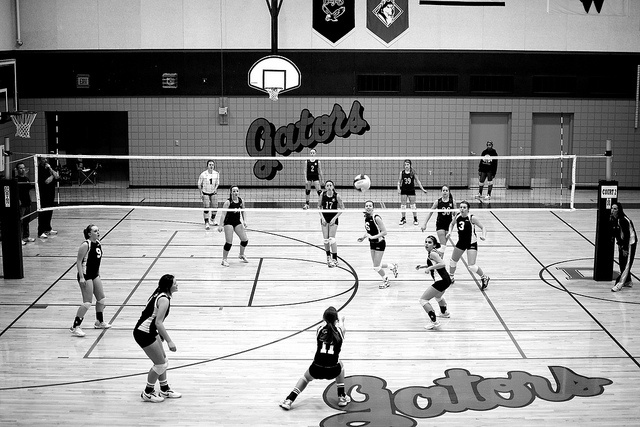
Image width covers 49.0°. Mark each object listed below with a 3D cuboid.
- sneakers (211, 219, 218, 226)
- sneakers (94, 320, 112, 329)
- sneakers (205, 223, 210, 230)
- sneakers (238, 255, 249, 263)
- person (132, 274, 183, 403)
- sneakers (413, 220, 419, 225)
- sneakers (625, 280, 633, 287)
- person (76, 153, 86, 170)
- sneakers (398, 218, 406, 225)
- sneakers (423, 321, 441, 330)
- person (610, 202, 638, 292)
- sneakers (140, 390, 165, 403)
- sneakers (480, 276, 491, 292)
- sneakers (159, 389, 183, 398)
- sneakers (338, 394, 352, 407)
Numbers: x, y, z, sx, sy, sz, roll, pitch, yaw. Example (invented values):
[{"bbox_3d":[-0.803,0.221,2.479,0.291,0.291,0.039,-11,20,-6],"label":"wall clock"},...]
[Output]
[{"bbox_3d":[-4.026,0.323,26.817,0.283,0.292,0.175,-1,15,-5],"label":"sneakers"},{"bbox_3d":[-5.771,2.946,18.658,0.440,0.200,0.177,0,11,-3],"label":"sneakers"},{"bbox_3d":[-4.204,0.490,26.258,0.218,0.256,0.648,-1,0,-9],"label":"sneakers"},{"bbox_3d":[-2.454,1.448,22.834,0.372,0.162,0.142,25,39,28],"label":"sneakers"},{"bbox_3d":[-3.674,2.869,15.830,0.983,2.928,0.702,-4,12,-6],"label":"person"},{"bbox_3d":[3.709,0.339,26.973,0.191,0.192,0.139,-6,33,1],"label":"sneakers"},{"bbox_3d":[9.307,2.113,21.116,0.174,0.130,0.234,2,5,16],"label":"sneakers"},{"bbox_3d":[-11.331,-2.376,33.217,0.324,0.540,0.855,-6,13,-18],"label":"person"},{"bbox_3d":[3.207,0.306,27.287,0.219,0.287,0.667,0,-1,19],"label":"sneakers"},{"bbox_3d":[3.036,3.004,18.714,0.390,0.186,0.159,-12,33,14],"label":"sneakers"},{"bbox_3d":[9.029,0.959,20.897,0.724,2.544,1.212,3,13,22],"label":"person"},{"bbox_3d":[-3.827,4.195,16.051,0.493,0.215,0.210,2,13,-2],"label":"sneakers"},{"bbox_3d":[4.922,2.068,20.896,0.168,0.468,0.196,4,17,16],"label":"sneakers"},{"bbox_3d":[-3.427,4.165,16.234,0.525,0.249,0.191,1,11,-6],"label":"sneakers"},{"bbox_3d":[0.561,4.269,16.023,0.140,0.154,0.358,6,16,24],"label":"sneakers"}]
